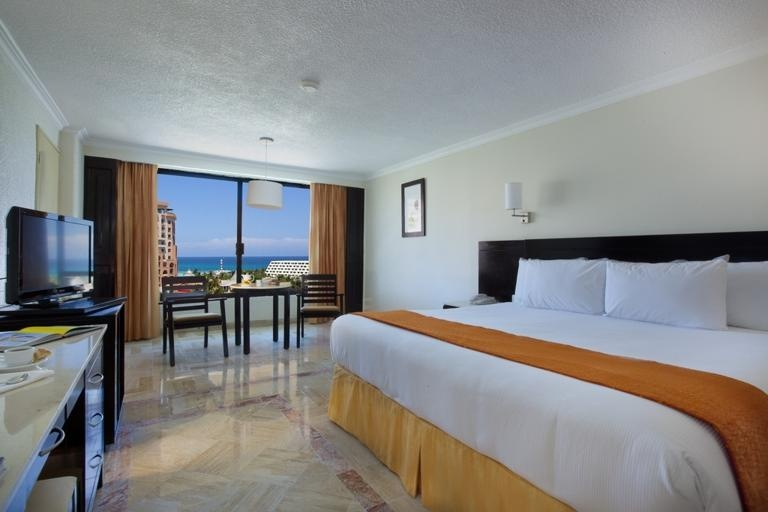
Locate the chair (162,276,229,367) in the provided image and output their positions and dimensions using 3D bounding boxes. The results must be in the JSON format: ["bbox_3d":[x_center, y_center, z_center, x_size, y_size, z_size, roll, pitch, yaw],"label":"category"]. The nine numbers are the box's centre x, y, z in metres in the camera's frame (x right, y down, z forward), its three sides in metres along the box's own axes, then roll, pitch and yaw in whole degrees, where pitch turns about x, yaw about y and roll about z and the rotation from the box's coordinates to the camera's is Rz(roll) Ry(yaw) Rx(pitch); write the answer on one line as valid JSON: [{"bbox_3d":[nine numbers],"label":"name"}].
[{"bbox_3d":[-2.324,0.705,6.011,0.714,1.027,1.618,-3,10,-20],"label":"chair"}]

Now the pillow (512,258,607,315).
[{"bbox_3d":[1.650,0.259,4.538,0.222,0.483,0.883,-7,5,-42],"label":"pillow"}]

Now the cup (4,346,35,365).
[{"bbox_3d":[-1.951,0.527,2.614,0.109,0.078,0.107,-1,-7,0],"label":"cup"}]

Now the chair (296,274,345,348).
[{"bbox_3d":[-0.873,0.699,6.675,0.763,0.883,0.849,0,1,43],"label":"chair"}]

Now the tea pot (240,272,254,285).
[{"bbox_3d":[-1.847,0.307,6.595,0.121,0.108,0.076,4,-9,-29],"label":"tea pot"}]

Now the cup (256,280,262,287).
[{"bbox_3d":[-1.545,0.339,6.042,0.069,0.088,0.124,3,-7,-30],"label":"cup"}]

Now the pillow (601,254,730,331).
[{"bbox_3d":[2.203,0.291,3.977,0.252,0.560,0.895,-8,5,-33],"label":"pillow"}]

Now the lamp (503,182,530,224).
[{"bbox_3d":[1.429,-0.589,5.382,0.309,0.450,0.335,-2,10,-15],"label":"lamp"}]

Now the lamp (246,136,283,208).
[{"bbox_3d":[-1.445,-1.049,5.955,0.461,0.809,0.452,3,0,-13],"label":"lamp"}]

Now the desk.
[{"bbox_3d":[-1.530,0.705,6.338,0.762,0.849,1.382,-1,10,-10],"label":"desk"}]
